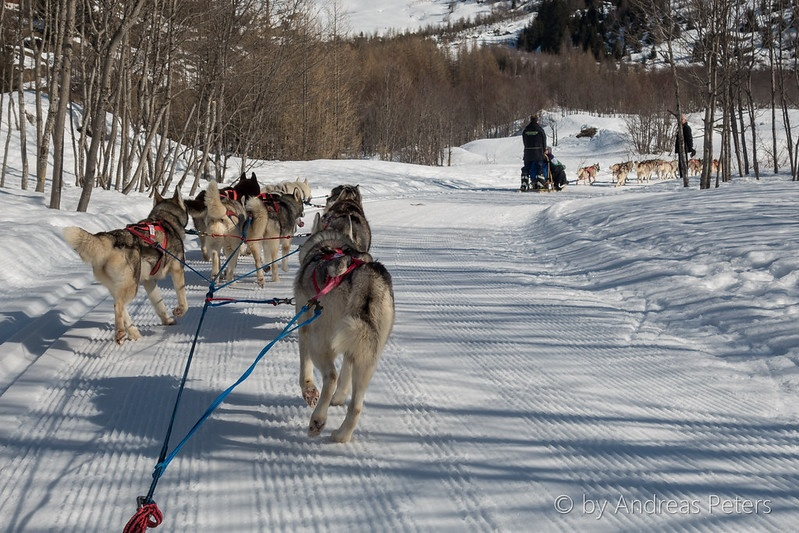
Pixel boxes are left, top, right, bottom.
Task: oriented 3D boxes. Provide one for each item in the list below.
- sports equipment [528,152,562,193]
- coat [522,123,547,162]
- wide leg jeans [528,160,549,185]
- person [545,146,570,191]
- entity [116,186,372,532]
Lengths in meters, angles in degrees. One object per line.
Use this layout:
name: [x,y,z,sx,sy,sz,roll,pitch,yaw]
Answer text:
sports equipment: [5.373,-3.437,26.917,1.125,1.339,2.381,5,13,5]
coat: [4.835,-4.433,25.980,0.786,1.408,1.257,2,11,12]
wide leg jeans: [5.155,-3.509,26.829,0.637,1.420,0.447,7,17,32]
person: [5.859,-3.820,27.497,0.914,1.493,0.557,-21,2,-22]
entity: [-1.913,0.695,10.205,1.540,2.242,6.881,-8,18,26]
